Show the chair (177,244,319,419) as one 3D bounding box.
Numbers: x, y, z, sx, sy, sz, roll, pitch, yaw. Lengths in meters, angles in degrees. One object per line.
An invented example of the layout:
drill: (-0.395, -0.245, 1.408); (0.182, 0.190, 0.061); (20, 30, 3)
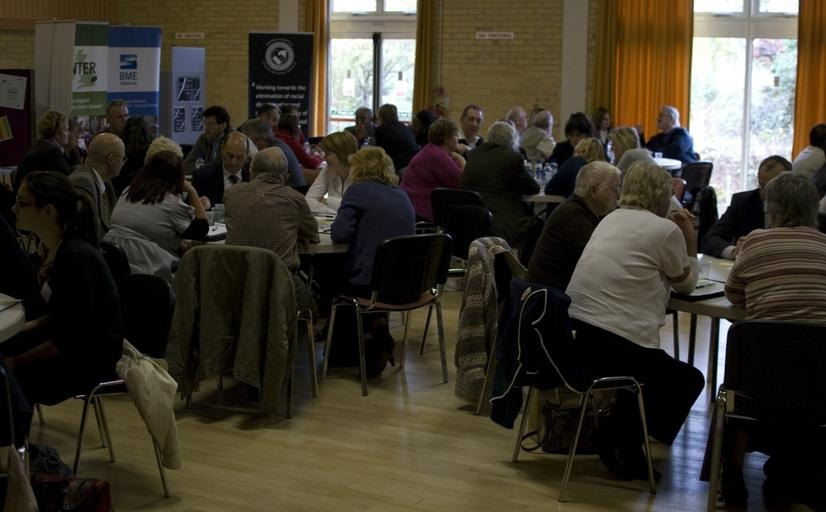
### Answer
chair: (-1.125, 0.501, 4.568); (0.882, 1.203, 0.611); (6, 19, 2)

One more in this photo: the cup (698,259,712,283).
cup: (1.841, 0.092, 4.370); (0.073, 0.099, 0.130); (-1, 5, -3)

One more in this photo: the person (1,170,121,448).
person: (-1.825, 0.176, 3.647); (0.571, 1.248, 0.281); (2, 6, 3)

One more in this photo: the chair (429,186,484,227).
chair: (0.413, -0.548, 6.533); (0.365, 0.513, 0.404); (12, 19, 38)

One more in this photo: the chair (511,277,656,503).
chair: (1.001, 0.753, 4.000); (0.844, 1.207, 0.544); (2, 6, 11)

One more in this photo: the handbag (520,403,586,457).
handbag: (0.877, 1.058, 4.304); (0.385, 0.272, 0.292); (3, -5, 2)

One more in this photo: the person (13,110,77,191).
person: (-3.469, -0.949, 6.665); (0.659, 0.868, 0.569); (11, 9, 35)
